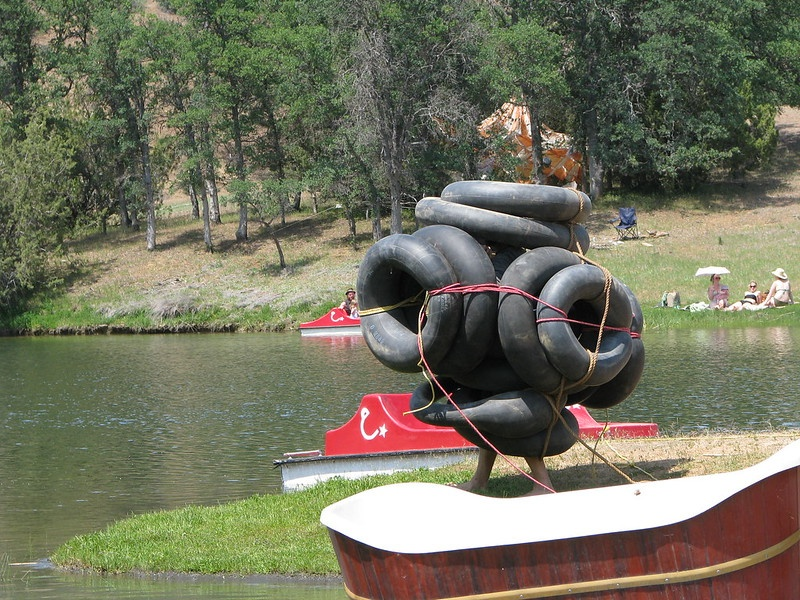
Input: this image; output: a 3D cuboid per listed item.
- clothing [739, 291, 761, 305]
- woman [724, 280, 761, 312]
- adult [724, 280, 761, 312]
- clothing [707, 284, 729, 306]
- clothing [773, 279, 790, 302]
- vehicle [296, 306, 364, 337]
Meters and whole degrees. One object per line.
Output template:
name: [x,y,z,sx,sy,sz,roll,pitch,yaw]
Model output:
clothing: [17.878,0.197,83.121,0.926,0.614,1.180,6,30,25]
woman: [17.536,-0.075,82.942,1.485,1.403,2.571,-2,5,32]
adult: [17.553,0.015,82.921,2.286,1.342,1.093,-14,19,-28]
clothing: [16.293,-0.030,83.341,1.186,1.497,0.905,2,3,19]
clothing: [19.258,-0.311,82.238,1.045,1.051,0.580,1,7,13]
vehicle: [-3.747,1.304,85.757,2.989,1.181,1.644,0,-2,5]
